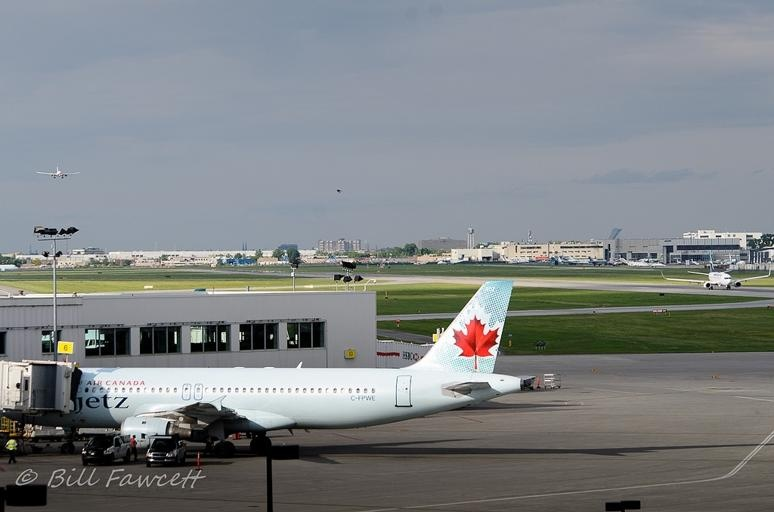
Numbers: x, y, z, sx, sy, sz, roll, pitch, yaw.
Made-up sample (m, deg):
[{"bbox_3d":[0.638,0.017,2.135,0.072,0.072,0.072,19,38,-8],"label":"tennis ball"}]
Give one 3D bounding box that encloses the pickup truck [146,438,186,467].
[{"bbox_3d":[-17.720,15.638,119.807,3.017,2.369,1.361,-1,-8,-10],"label":"pickup truck"}]
